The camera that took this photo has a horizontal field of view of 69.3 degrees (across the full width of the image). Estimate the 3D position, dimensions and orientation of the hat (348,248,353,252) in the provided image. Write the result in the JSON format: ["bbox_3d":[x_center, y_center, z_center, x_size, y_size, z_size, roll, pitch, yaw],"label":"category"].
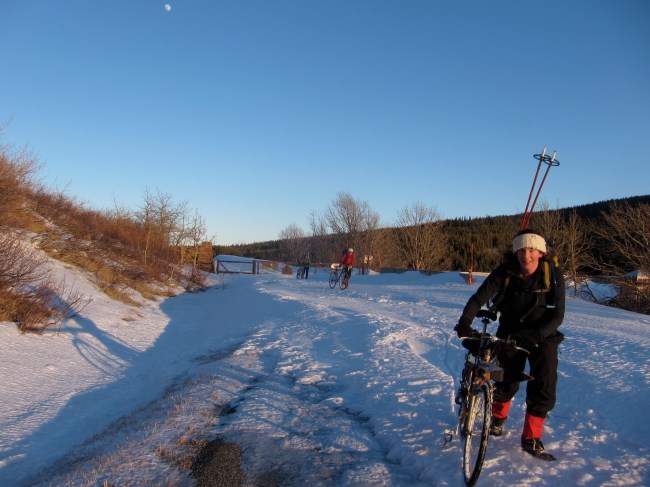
[{"bbox_3d":[1.223,0.281,22.502,0.244,0.148,0.374,0,-5,5],"label":"hat"}]

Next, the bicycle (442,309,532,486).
[{"bbox_3d":[2.051,1.969,6.270,0.850,2.093,1.360,0,6,15],"label":"bicycle"}]

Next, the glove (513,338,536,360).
[{"bbox_3d":[2.604,1.363,6.128,0.256,0.354,0.343,1,7,22],"label":"glove"}]

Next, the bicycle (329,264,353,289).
[{"bbox_3d":[0.759,1.723,24.059,0.693,0.929,1.399,5,-6,-31],"label":"bicycle"}]

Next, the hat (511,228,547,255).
[{"bbox_3d":[2.756,-0.015,6.281,0.470,0.344,0.245,-3,6,-12],"label":"hat"}]
